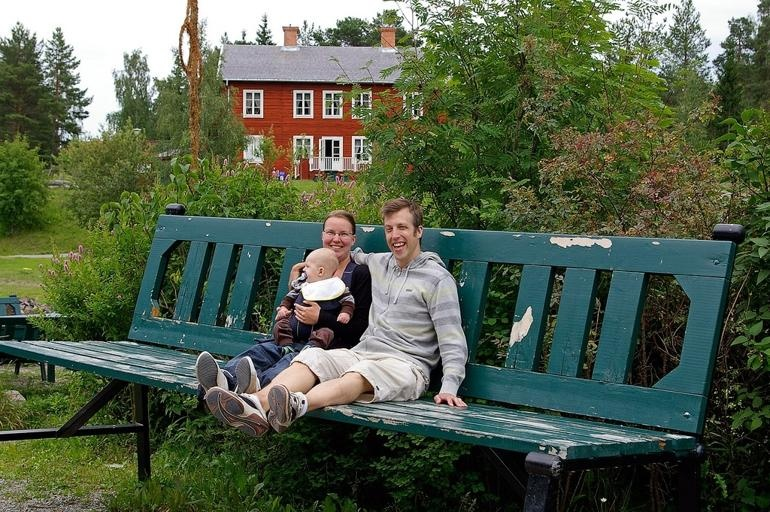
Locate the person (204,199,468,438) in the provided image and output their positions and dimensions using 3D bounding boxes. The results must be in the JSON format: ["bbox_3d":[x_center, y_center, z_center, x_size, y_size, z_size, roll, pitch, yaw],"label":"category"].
[{"bbox_3d":[-0.204,0.291,3.990,1.156,1.152,1.595,5,7,45],"label":"person"}]

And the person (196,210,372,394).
[{"bbox_3d":[-0.550,0.304,4.166,0.595,0.926,1.309,4,16,32],"label":"person"}]
